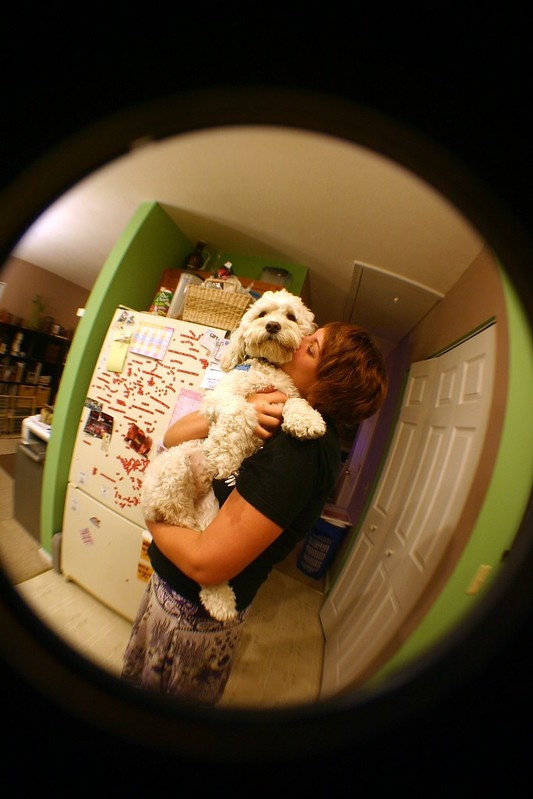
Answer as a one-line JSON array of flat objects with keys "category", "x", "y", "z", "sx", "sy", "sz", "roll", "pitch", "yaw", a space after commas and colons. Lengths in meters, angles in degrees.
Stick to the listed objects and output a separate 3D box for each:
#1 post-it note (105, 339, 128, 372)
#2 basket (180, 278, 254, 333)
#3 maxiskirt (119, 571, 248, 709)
[{"category": "post-it note", "x": -0.462, "y": -0.131, "z": 1.503, "sx": 0.055, "sy": 0.025, "sz": 0.107, "roll": 8, "pitch": 91, "yaw": 17}, {"category": "basket", "x": -0.145, "y": -0.252, "z": 1.382, "sx": 0.171, "sy": 0.165, "sz": 0.101, "roll": 18, "pitch": 74, "yaw": 15}, {"category": "maxiskirt", "x": -0.138, "y": 0.394, "z": 0.869, "sx": 0.184, "sy": 0.156, "sz": 0.239, "roll": 15, "pitch": 109, "yaw": 5}]
